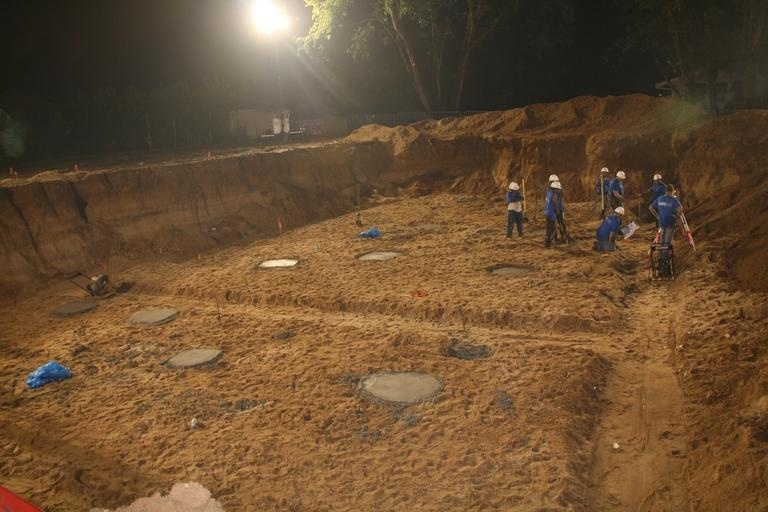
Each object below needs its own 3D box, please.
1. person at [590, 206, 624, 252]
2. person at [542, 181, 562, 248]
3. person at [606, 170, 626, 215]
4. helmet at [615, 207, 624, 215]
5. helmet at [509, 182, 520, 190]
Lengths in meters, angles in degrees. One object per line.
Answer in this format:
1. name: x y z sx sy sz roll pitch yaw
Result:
1. person: 7.451 -0.938 20.807 0.867 1.550 0.834 2 20 22
2. person: 5.734 -1.491 21.298 0.532 2.291 0.887 4 21 25
3. person: 8.808 -2.369 23.707 0.743 0.897 2.278 -5 -20 27
4. helmet: 7.606 -1.463 20.270 0.267 0.179 0.351 -19 11 -25
5. helmet: 4.607 -2.468 22.145 0.488 0.206 0.655 2 7 16
